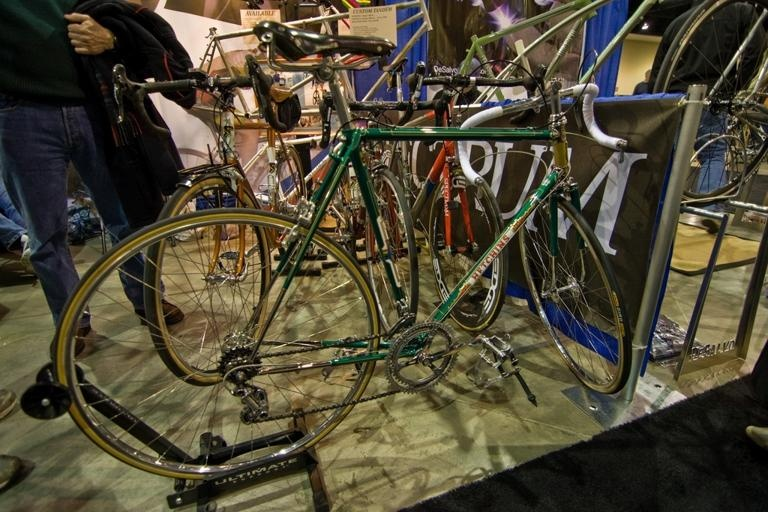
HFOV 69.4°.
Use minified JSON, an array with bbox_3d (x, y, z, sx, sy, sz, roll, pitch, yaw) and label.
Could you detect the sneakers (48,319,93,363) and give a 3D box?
[{"bbox_3d":[-1.913,0.523,3.389,0.171,0.399,0.130,-8,49,-25],"label":"sneakers"}]
